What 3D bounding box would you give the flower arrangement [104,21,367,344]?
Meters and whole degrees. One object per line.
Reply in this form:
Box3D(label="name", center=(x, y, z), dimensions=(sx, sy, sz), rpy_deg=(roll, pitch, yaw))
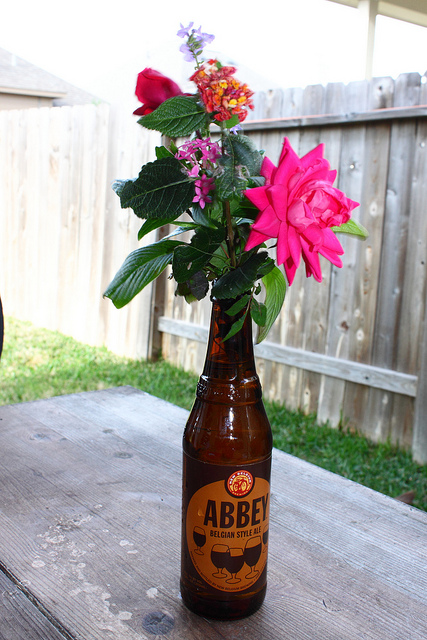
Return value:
Box3D(label="flower arrangement", center=(0.014, -0.110, 0.445), dimensions=(0.221, 0.228, 0.259), rpy_deg=(23, 24, 25))
